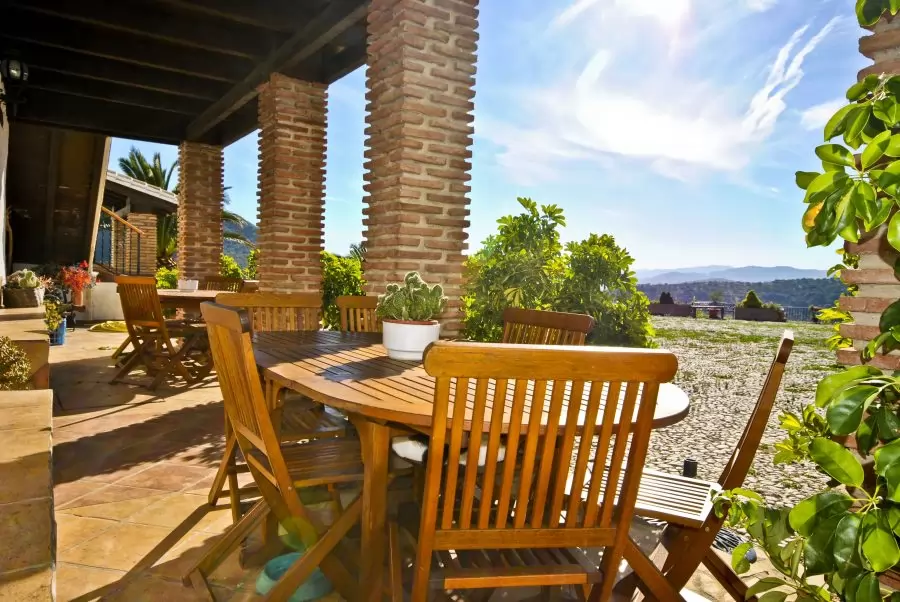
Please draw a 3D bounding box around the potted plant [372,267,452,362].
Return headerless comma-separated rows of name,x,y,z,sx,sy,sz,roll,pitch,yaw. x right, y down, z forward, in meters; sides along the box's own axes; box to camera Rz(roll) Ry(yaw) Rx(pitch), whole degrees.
potted plant,-0.204,0.064,2.758,0.491,0.509,0.432,1,-2,-4
